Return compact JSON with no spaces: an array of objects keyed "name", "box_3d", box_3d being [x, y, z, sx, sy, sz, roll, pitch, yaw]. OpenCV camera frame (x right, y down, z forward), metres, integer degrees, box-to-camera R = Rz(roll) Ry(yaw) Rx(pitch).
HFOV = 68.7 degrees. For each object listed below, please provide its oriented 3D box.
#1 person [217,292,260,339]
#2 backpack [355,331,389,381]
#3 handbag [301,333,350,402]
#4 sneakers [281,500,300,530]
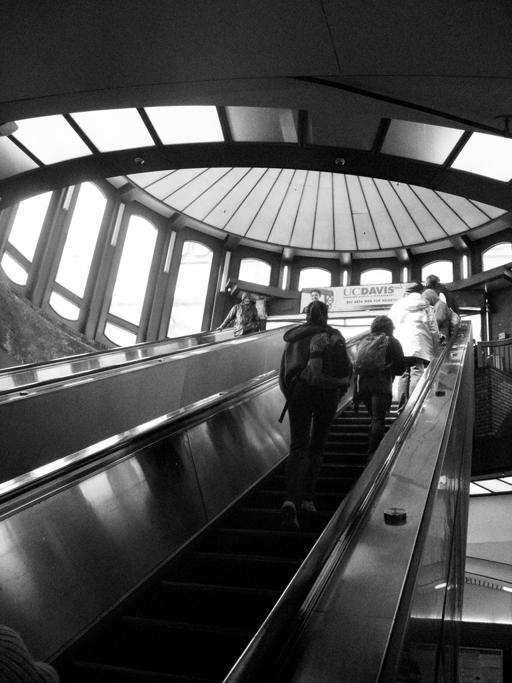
[{"name":"person","box_3d":[-0.412,-0.678,9.394,0.887,1.115,0.622,-9,-8,27]},{"name":"backpack","box_3d":[1.314,0.161,4.204,0.360,0.562,0.298,-7,-31,44]},{"name":"handbag","box_3d":[0.586,0.226,3.202,0.232,0.476,0.343,-5,-47,23]},{"name":"sneakers","box_3d":[0.241,1.233,2.702,0.089,0.236,0.094,-6,-8,10]}]
